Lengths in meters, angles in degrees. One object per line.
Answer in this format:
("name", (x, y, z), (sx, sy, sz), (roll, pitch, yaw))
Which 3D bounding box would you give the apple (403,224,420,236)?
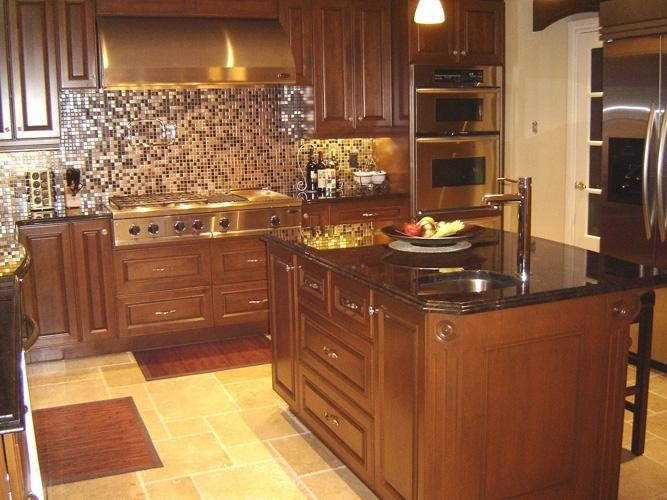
("apple", (0.421, -0.105, 3.020), (0.064, 0.036, 0.062), (-5, 7, -42))

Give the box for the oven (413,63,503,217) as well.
("oven", (1.051, -1.084, 5.801), (1.001, 1.395, 0.957), (-6, 13, -19))

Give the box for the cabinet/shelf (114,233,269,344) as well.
("cabinet/shelf", (-1.312, 0.300, 5.084), (1.680, 1.089, 0.830), (-3, 5, -22))

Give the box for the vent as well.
("vent", (-1.143, -1.694, 4.832), (1.582, 0.614, 0.337), (-6, 14, -20))

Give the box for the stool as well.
("stool", (1.652, 0.678, 3.066), (0.117, 0.965, 0.295), (6, 15, 30))

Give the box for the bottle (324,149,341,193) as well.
("bottle", (-0.016, -0.775, 5.629), (0.141, 0.380, 0.380), (-1, 13, 0))

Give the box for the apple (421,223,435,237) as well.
("apple", (0.494, -0.104, 2.991), (0.064, 0.066, 0.063), (1, 16, 1))

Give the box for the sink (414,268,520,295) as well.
("sink", (0.621, 0.147, 2.541), (0.223, 0.087, 0.180), (-6, 15, -22))

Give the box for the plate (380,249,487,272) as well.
("plate", (0.495, 0.052, 2.796), (0.483, 0.013, 0.414), (-1, 13, 1))
